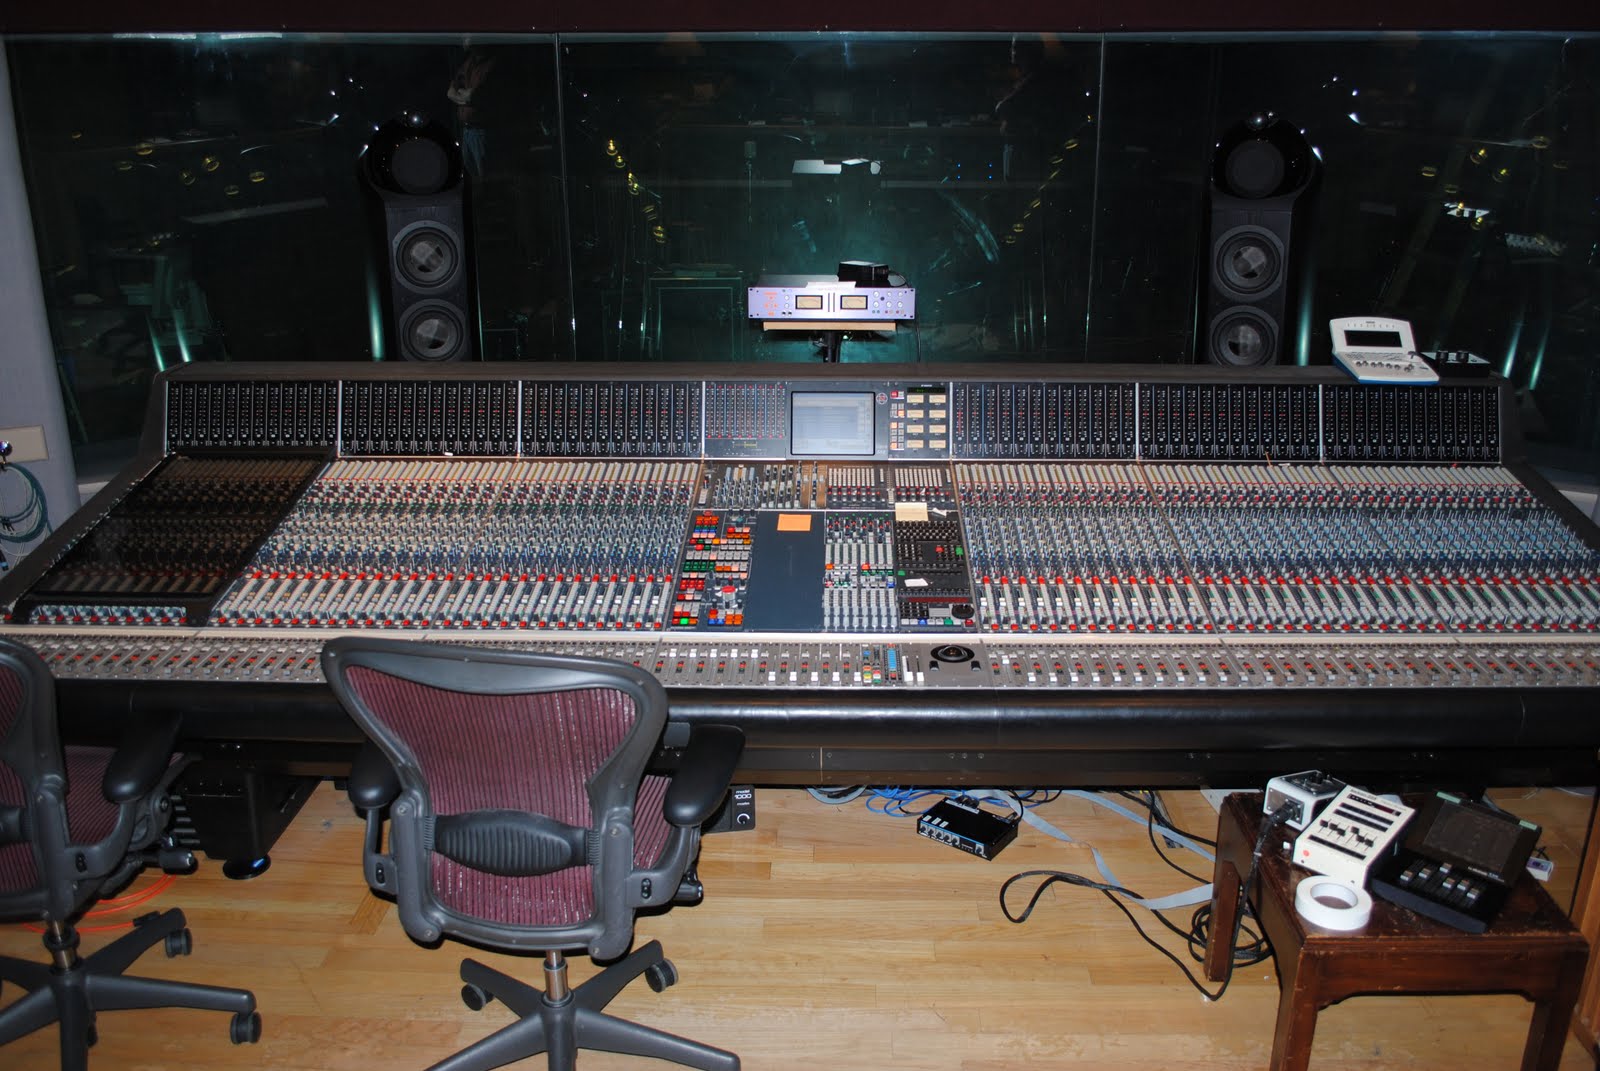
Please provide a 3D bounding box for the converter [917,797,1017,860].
[{"bbox_3d":[0.604,1.036,4.376,0.305,0.109,0.255,6,12,26],"label":"converter"}]

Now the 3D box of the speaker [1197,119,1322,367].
[{"bbox_3d":[1.734,-1.131,4.695,0.365,0.919,0.199,2,12,6],"label":"speaker"}]

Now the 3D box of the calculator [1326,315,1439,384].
[{"bbox_3d":[1.999,-0.623,4.221,0.311,0.142,0.360,6,29,9],"label":"calculator"}]

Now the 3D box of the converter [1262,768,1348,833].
[{"bbox_3d":[1.445,0.744,3.549,0.245,0.110,0.138,-13,21,-34],"label":"converter"}]

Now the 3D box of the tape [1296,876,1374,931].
[{"bbox_3d":[1.415,0.979,3.269,0.156,0.045,0.144,1,21,8],"label":"tape"}]

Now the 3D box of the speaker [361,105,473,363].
[{"bbox_3d":[-1.487,-1.174,4.798,0.399,0.946,0.287,-1,12,-13],"label":"speaker"}]
